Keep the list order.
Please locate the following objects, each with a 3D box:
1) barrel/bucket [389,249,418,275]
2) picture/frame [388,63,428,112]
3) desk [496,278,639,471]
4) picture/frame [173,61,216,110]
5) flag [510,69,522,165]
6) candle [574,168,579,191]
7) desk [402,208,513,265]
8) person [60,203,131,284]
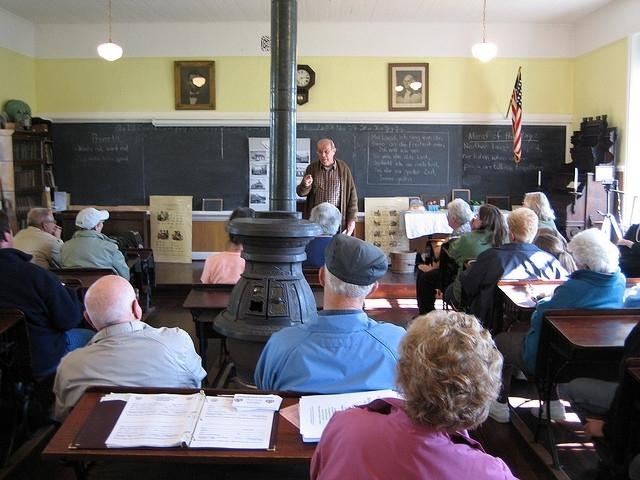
[{"bbox_3d":[1.062,0.277,6.738,0.288,0.225,0.272,1,0,0],"label":"barrel/bucket"},{"bbox_3d":[1.215,-2.170,7.245,0.617,0.722,0.051,-1,8,-3],"label":"picture/frame"},{"bbox_3d":[1.362,0.679,2.887,0.547,0.912,0.924,-1,11,-1],"label":"desk"},{"bbox_3d":[-1.738,-2.200,7.262,0.611,0.731,0.075,1,1,0],"label":"picture/frame"},{"bbox_3d":[2.700,-1.726,7.177,0.201,1.306,0.565,3,12,20],"label":"flag"},{"bbox_3d":[3.284,-0.783,6.686,0.059,0.300,0.290,5,13,29],"label":"candle"},{"bbox_3d":[1.273,-0.046,4.963,0.611,0.251,0.628,-9,19,41],"label":"desk"},{"bbox_3d":[-1.913,0.136,4.389,0.534,0.797,0.405,5,9,7],"label":"person"}]
